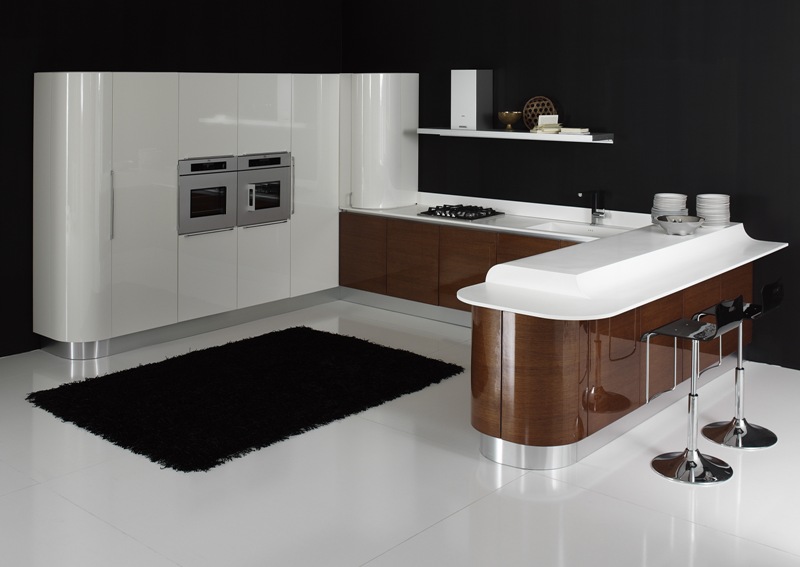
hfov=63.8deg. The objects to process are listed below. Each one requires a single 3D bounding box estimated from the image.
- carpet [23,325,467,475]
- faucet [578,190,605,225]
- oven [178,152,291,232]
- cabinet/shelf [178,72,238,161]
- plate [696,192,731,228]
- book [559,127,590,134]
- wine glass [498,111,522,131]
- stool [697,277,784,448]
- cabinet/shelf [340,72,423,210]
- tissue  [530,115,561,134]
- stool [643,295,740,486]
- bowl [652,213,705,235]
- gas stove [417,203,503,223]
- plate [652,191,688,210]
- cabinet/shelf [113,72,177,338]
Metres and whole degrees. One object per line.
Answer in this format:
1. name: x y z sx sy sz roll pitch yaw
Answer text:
1. carpet: -1.263 0.926 5.199 2.731 0.026 2.096 -21 -31 20
2. faucet: 1.840 -0.736 6.083 0.253 0.336 0.418 2 17 16
3. oven: -1.603 -0.833 6.671 1.222 0.742 0.689 -5 -14 -1
4. cabinet/shelf: -1.958 -1.690 6.239 0.644 0.881 0.457 -11 35 -33
5. plate: 2.586 -0.609 5.293 0.274 0.267 0.274 0 6 24
6. book: 1.676 -1.462 6.122 0.269 0.046 0.345 3 18 17
7. wine glass: 1.145 -1.676 6.512 0.211 0.151 0.218 -6 9 -37
8. stool: 2.349 0.534 4.415 0.485 1.040 0.486 -5 5 -31
9. cabinet/shelf: -0.240 -1.567 7.068 0.901 1.428 0.367 -3 16 -2
10. tissue : 1.445 -1.514 6.220 0.221 0.138 0.224 10 15 41
11. stool: 1.915 0.548 4.235 0.565 1.070 1.129 4 17 20
12. bowl: 2.205 -0.473 5.056 0.334 0.119 0.469 6 19 24
13. gas stove: 0.624 -0.765 6.750 0.770 0.085 0.612 11 21 36
14. plate: 2.301 -0.700 5.372 0.204 0.093 0.203 -7 11 -34
15. cabinet/shelf: -2.403 -0.796 5.834 0.733 2.741 0.225 -1 -9 -17
